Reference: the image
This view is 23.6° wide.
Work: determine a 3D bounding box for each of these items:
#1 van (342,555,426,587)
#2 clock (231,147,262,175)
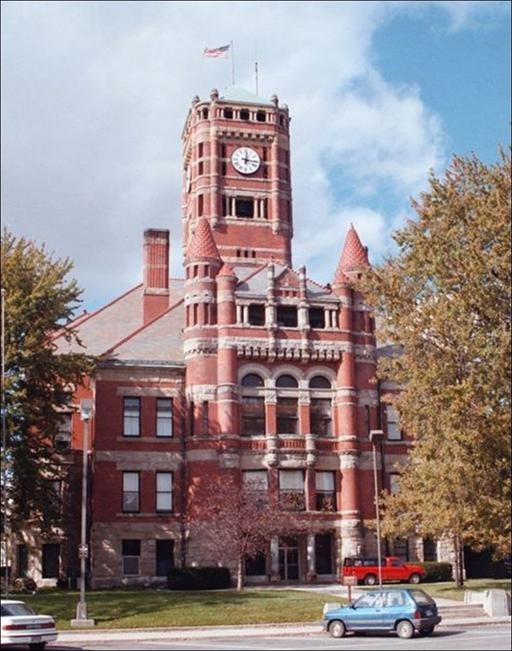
[{"bbox_3d":[5.539,10.667,53.435,3.145,1.134,1.432,-1,-6,-5],"label":"van"},{"bbox_3d":[-0.665,-9.754,72.703,1.719,1.684,0.176,-1,-11,-17],"label":"clock"}]
